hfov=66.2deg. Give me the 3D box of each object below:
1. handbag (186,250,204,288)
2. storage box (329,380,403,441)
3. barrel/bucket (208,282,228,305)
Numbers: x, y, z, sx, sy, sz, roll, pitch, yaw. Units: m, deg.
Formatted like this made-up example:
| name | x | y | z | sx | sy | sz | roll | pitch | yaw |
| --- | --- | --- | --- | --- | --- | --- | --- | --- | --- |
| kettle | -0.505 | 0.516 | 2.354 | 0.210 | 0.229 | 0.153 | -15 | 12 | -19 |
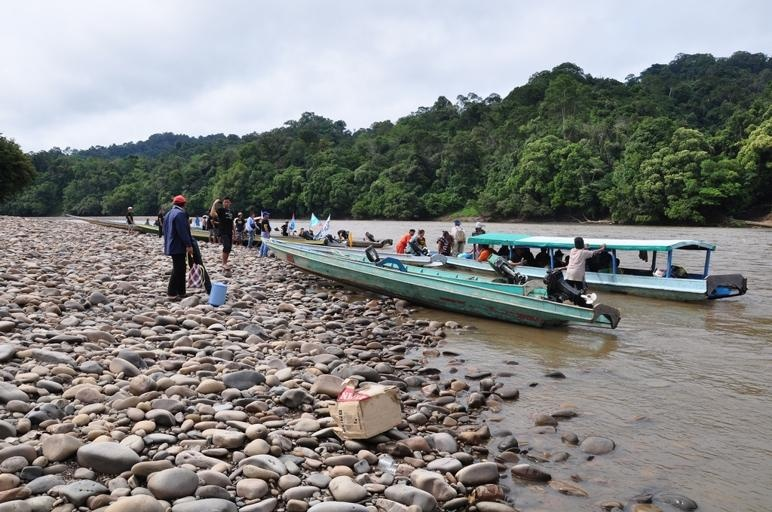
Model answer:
| name | x | y | z | sx | sy | sz | roll | pitch | yaw |
| --- | --- | --- | --- | --- | --- | --- | --- | --- | --- |
| handbag | -4.641 | 0.344 | 14.388 | 0.442 | 0.902 | 0.420 | 8 | 9 | 3 |
| storage box | -0.343 | 2.305 | 9.221 | 1.149 | 0.772 | 1.094 | -11 | -4 | -11 |
| barrel/bucket | -3.994 | 0.936 | 14.199 | 0.437 | 0.521 | 0.490 | 2 | 9 | -28 |
